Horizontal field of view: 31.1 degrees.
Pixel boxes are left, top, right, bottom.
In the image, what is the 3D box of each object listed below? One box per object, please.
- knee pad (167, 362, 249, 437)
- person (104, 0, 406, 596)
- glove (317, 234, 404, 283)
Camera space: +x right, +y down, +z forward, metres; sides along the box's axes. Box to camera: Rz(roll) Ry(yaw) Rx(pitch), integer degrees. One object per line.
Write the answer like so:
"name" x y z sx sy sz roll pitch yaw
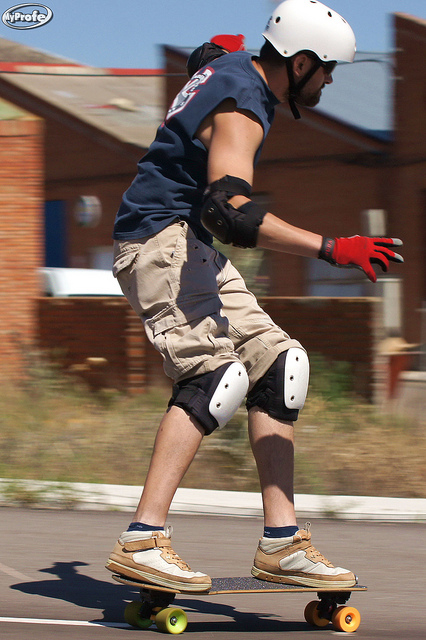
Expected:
"knee pad" -0.074 0.237 2.457 0.319 0.172 0.372 -8 1 -22
"person" 0.101 -0.116 2.361 0.828 1.790 0.856 7 14 -9
"glove" 0.468 -0.174 2.249 0.219 0.134 0.298 15 15 34
